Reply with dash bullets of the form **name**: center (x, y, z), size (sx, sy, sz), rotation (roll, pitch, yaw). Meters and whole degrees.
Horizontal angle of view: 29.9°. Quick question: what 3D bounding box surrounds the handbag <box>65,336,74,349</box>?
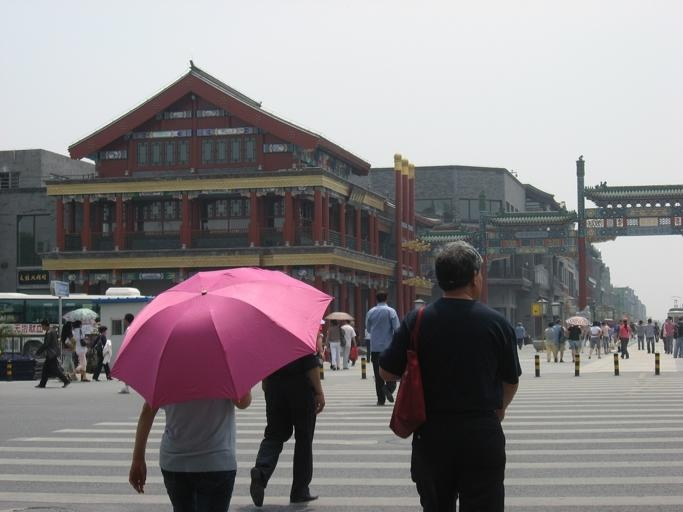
- **handbag**: center (-8.030, 2.475, 37.645), size (0.100, 0.233, 0.294), rotation (-1, -5, 26)

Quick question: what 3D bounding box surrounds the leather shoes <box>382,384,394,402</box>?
- **leather shoes**: center (1.032, 2.940, 28.150), size (0.129, 0.430, 0.289), rotation (-8, 18, 5)

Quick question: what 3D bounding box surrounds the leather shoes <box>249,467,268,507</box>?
- **leather shoes**: center (-1.244, 3.408, 19.141), size (0.179, 0.598, 0.231), rotation (-4, -7, 6)

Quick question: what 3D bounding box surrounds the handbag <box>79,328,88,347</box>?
- **handbag**: center (-7.639, 2.312, 37.710), size (0.192, 0.547, 1.289), rotation (0, -4, -11)
